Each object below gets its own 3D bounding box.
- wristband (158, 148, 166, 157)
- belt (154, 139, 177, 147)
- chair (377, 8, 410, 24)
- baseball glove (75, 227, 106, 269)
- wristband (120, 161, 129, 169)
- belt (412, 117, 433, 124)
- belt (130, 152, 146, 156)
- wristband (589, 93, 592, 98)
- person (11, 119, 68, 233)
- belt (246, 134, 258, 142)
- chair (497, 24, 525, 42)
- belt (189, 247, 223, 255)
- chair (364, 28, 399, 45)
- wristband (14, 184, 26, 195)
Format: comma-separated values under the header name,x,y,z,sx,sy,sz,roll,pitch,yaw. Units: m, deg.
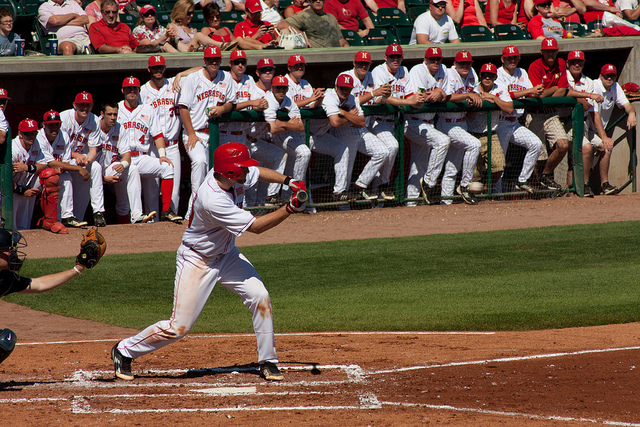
name,x,y,z,sx,sy,sz,roll,pitch,yaw
wristband,-2.562,-1.002,20.092,0.137,0.143,0.133,-3,6,-28
belt,-2.455,-1.164,20.269,0.218,0.122,0.067,-2,5,-22
chair,1.342,-3.755,23.395,0.445,0.528,0.406,-5,16,-22
baseball glove,-2.718,0.421,14.604,0.347,0.489,0.252,9,3,-10
wristband,-3.159,-0.802,19.966,0.057,0.104,0.152,3,6,34
belt,1.710,-1.601,20.965,0.190,0.046,0.141,17,9,16
belt,-2.970,-0.979,20.140,0.231,0.052,0.047,-2,5,-24
wristband,4.748,-2.089,21.738,0.020,0.075,0.078,18,-13,-13
person,-4.509,-0.604,19.590,0.763,1.777,0.523,-1,5,-14
belt,-1.121,-1.232,20.171,0.136,0.050,0.114,26,-2,14
chair,3.544,-3.465,23.465,0.445,0.379,0.538,-11,-1,-8
belt,-1.339,0.436,14.424,0.370,0.088,0.045,-1,5,-5
chair,1.096,-3.257,22.679,0.416,0.518,0.413,-1,6,-15
wristband,-4.742,-0.387,19.485,0.173,0.141,0.043,-2,5,-16
